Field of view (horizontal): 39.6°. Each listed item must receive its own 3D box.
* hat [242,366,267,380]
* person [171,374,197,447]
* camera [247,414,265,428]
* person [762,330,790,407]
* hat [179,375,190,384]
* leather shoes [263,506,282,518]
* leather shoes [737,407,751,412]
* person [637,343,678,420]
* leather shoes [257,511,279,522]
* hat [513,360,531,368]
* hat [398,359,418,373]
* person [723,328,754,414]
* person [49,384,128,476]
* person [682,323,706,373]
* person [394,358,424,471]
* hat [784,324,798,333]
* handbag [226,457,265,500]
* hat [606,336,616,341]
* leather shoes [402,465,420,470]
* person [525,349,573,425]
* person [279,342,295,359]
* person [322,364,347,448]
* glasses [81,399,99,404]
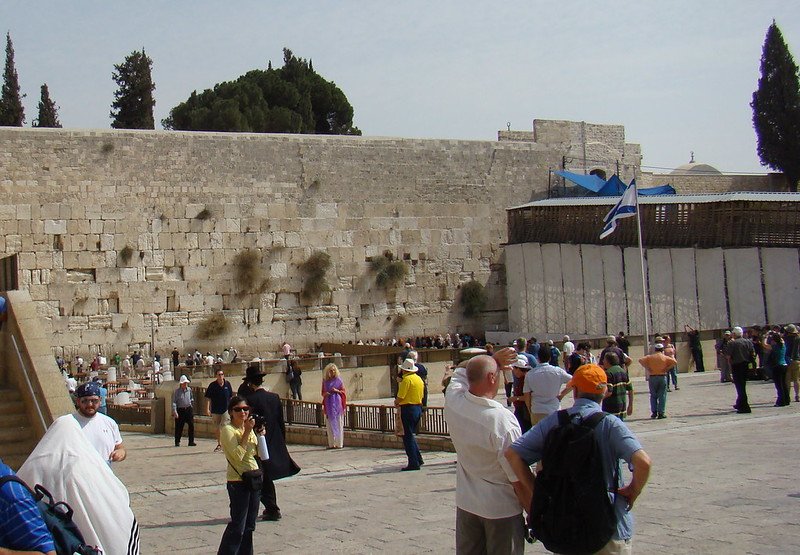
[{"bbox_3d":[-2.463,1.632,18.956,0.259,0.129,0.309,-5,-4,12],"label":"hat"},{"bbox_3d":[-4.770,3.015,24.538,0.446,1.186,0.896,-2,-1,-12],"label":"person"},{"bbox_3d":[-2.314,2.338,17.871,0.165,0.250,0.056,-3,-6,15],"label":"camera"},{"bbox_3d":[8.254,1.957,24.243,0.448,1.635,2.216,-2,-1,18],"label":"person"},{"bbox_3d":[-5.287,2.523,27.229,0.277,0.172,0.311,-5,-9,41],"label":"hat"},{"bbox_3d":[-2.131,3.957,18.593,0.297,0.144,0.126,-2,-4,40],"label":"leather shoes"},{"bbox_3d":[7.141,2.746,22.899,0.277,0.101,0.159,-2,-1,-15],"label":"leather shoes"},{"bbox_3d":[5.374,2.157,23.032,0.706,1.543,0.385,2,2,25],"label":"person"},{"bbox_3d":[-2.212,4.018,18.626,0.337,0.174,0.133,-2,0,-2],"label":"leather shoes"},{"bbox_3d":[2.177,1.568,19.725,0.312,0.159,0.470,2,0,11],"label":"hat"},{"bbox_3d":[0.173,1.652,20.643,0.241,0.103,0.235,11,4,-8],"label":"hat"},{"bbox_3d":[7.075,1.967,23.037,0.505,1.801,0.556,-1,-2,-31],"label":"person"},{"bbox_3d":[-4.582,2.268,16.910,0.755,1.007,0.892,-2,-1,-17],"label":"person"},{"bbox_3d":[7.979,1.957,29.914,0.457,1.233,0.875,-2,-1,16],"label":"person"},{"bbox_3d":[0.212,2.541,20.682,0.527,1.837,0.435,-2,-1,-8],"label":"person"},{"bbox_3d":[8.491,1.131,24.022,0.280,0.245,0.433,2,9,16],"label":"hat"},{"bbox_3d":[-2.426,3.156,17.482,0.516,0.546,0.389,-8,-8,33],"label":"handbag"},{"bbox_3d":[4.827,1.413,25.325,0.213,0.118,0.154,6,7,29],"label":"hat"},{"bbox_3d":[0.212,3.558,20.651,0.321,0.143,0.115,4,-5,4],"label":"leather shoes"},{"bbox_3d":[2.598,2.291,19.384,0.887,2.164,0.578,-1,15,7],"label":"person"},{"bbox_3d":[-3.829,2.508,37.472,0.377,0.864,0.388,-3,10,-22],"label":"person"},{"bbox_3d":[-1.350,2.678,22.822,0.432,1.504,0.809,-2,-1,-3],"label":"person"},{"bbox_3d":[-4.683,1.887,16.792,0.255,0.059,0.087,-2,-1,-23],"label":"glasses"}]
